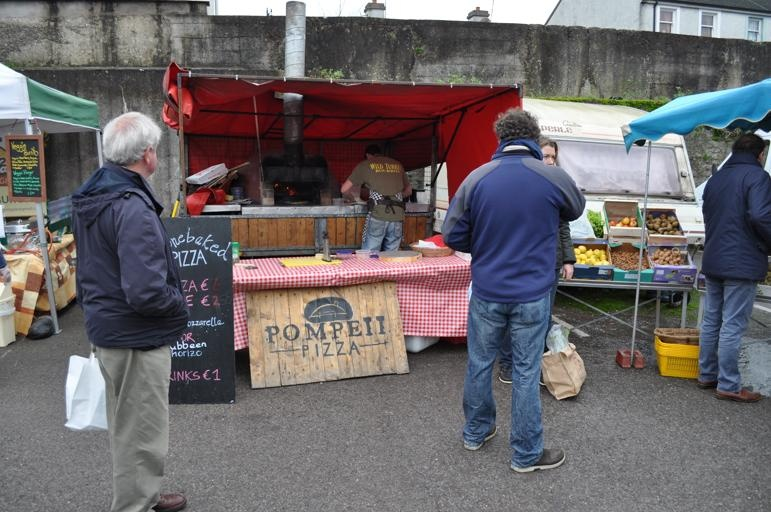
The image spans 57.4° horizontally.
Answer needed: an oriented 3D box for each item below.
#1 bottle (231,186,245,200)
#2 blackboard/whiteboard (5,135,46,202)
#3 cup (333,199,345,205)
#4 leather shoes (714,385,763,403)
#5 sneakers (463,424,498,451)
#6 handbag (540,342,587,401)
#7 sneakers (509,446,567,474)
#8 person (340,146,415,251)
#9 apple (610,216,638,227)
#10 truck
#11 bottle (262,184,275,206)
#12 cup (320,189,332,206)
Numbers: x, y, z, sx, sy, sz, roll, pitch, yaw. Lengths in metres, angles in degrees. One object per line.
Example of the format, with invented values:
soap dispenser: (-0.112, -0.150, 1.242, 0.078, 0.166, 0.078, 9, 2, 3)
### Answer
bottle: (-2.349, -0.978, 11.193, 0.201, 0.234, 0.207, 0, -1, -13)
blackboard/whiteboard: (-4.725, -1.134, 9.235, 0.668, 0.845, 0.237, 3, 12, 19)
cup: (-0.734, -0.835, 11.039, 0.118, 0.079, 0.121, 0, 3, 0)
leather shoes: (3.903, 1.528, 7.848, 0.495, 0.239, 0.190, -4, 4, 3)
sneakers: (0.971, 1.814, 7.096, 0.404, 0.175, 0.147, -11, 15, -43)
handbag: (2.071, 1.249, 8.011, 0.345, 0.637, 0.660, -16, -6, 22)
sneakers: (1.447, 1.977, 6.839, 0.558, 0.278, 0.213, -7, 7, -6)
person: (-0.115, -0.849, 10.773, 1.004, 1.643, 1.574, -1, 11, 1)
apple: (3.206, -0.434, 9.351, 0.196, 0.091, 0.195, -2, 9, 4)
truck: (3.577, -1.205, 12.142, 2.715, 3.077, 4.596, -1, 3, -15)
bottle: (-1.815, -0.953, 10.890, 0.197, 0.334, 0.287, -3, 12, -9)
cup: (-0.947, -0.900, 11.075, 0.199, 0.206, 0.200, -3, -8, 0)
